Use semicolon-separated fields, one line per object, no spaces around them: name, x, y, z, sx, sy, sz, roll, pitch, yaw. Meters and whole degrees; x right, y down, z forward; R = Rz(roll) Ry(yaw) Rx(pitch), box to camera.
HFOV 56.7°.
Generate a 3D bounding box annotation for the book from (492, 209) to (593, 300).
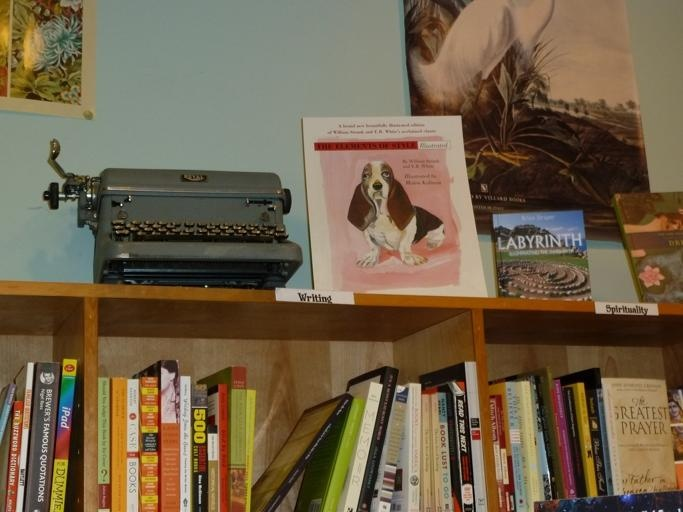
book;0.528;0.001;1.682;0.237;0.281;0.021;0;-22;1
